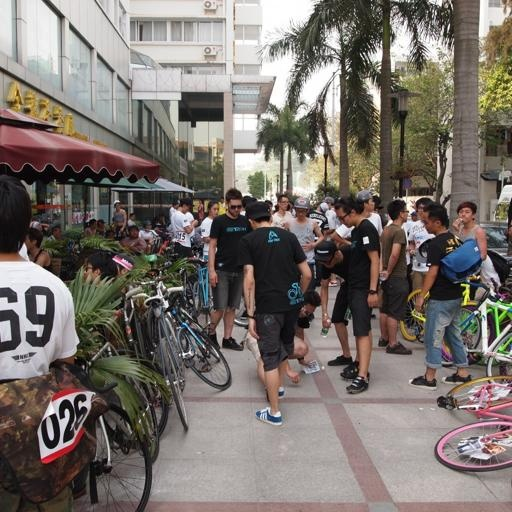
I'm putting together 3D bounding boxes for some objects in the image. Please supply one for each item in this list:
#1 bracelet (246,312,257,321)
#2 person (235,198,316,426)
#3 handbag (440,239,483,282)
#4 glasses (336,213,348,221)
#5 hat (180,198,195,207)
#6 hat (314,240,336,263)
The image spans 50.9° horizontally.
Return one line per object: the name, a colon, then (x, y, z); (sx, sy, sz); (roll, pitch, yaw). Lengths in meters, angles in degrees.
bracelet: (-0.052, 0.559, 4.980); (0.046, 0.068, 0.040); (3, 36, 11)
person: (0.165, 0.499, 5.174); (0.636, 2.072, 0.607); (-3, 2, -38)
handbag: (2.138, 0.027, 5.642); (0.223, 0.435, 0.407); (43, -15, -23)
glasses: (0.972, -0.438, 6.102); (0.095, 0.085, 0.198); (0, 3, 8)
hat: (-1.306, -1.010, 9.879); (0.161, 0.174, 0.131); (-8, 35, -30)
hat: (0.783, -0.060, 6.119); (0.173, 0.145, 0.271); (4, 37, 28)
